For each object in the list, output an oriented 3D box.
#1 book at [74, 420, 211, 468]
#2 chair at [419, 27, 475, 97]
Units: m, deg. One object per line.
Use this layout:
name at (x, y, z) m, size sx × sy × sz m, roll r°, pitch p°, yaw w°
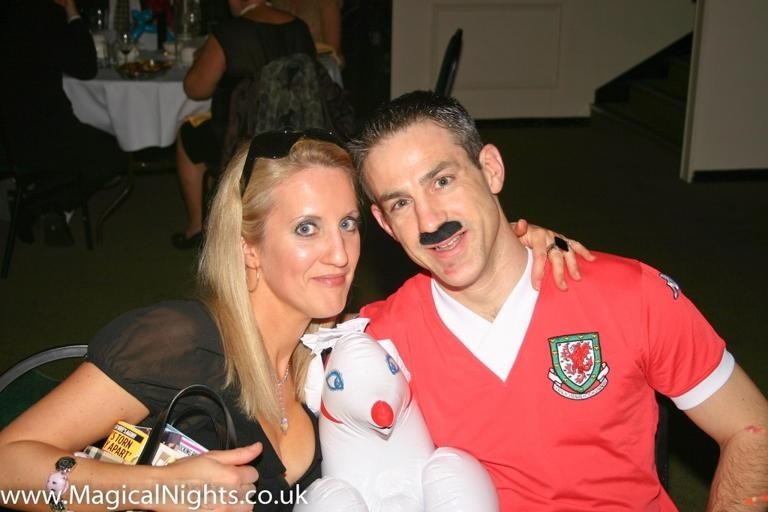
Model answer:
book at (-1.000, 0.751, 2.483) m, size 0.320 × 0.111 × 0.253 m, roll 0°, pitch 63°, yaw 1°
chair at (0.953, -2.901, 9.216) m, size 0.264 × 0.933 × 0.586 m, roll 13°, pitch 26°, yaw 22°
